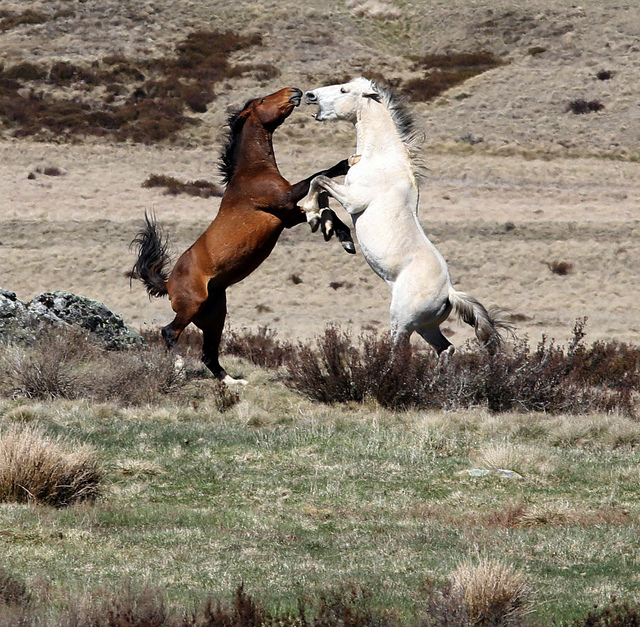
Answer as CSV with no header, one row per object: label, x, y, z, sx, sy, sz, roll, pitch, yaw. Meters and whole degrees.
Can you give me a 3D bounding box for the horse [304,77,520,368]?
horse,1.453,-1.706,31.356,3.533,5.575,1.250,0,5,-1
